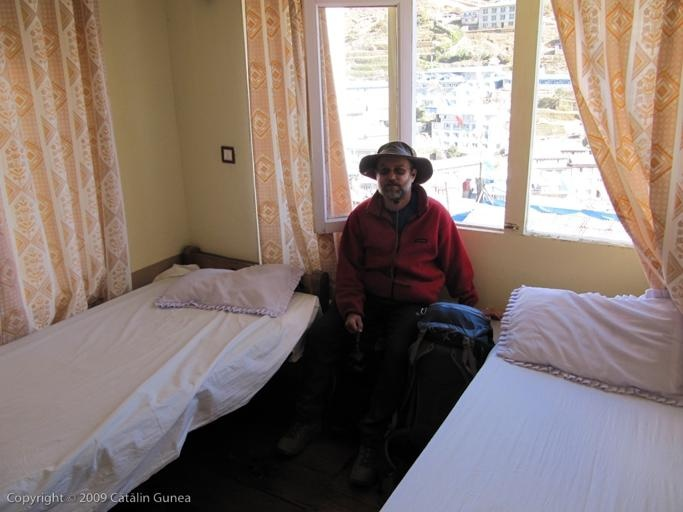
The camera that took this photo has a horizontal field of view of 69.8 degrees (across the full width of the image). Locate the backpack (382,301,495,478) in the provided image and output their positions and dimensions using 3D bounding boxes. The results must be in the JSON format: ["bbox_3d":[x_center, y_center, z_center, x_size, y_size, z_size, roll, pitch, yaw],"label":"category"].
[{"bbox_3d":[0.439,0.627,2.223,0.292,0.692,0.571,16,3,-43],"label":"backpack"}]
